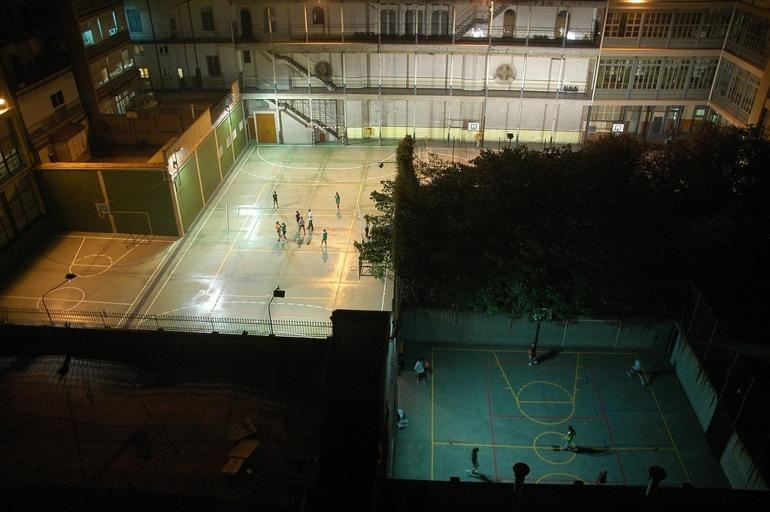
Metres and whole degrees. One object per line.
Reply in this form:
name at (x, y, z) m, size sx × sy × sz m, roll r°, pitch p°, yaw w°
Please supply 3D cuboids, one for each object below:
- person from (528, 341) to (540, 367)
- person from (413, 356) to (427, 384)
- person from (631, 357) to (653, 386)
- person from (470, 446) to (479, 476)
person at (10.421, 6.848, 35.448) m, size 0.720 × 1.630 × 1.220 m, roll 4°, pitch -9°, yaw 16°
person at (2.445, 7.728, 34.233) m, size 0.929 × 1.613 × 1.291 m, roll 6°, pitch -9°, yaw 5°
person at (17.513, 7.977, 34.403) m, size 1.158 × 1.592 × 0.987 m, roll 13°, pitch -11°, yaw -36°
person at (5.367, 12.086, 29.987) m, size 0.515 × 1.503 × 1.651 m, roll 5°, pitch -9°, yaw 11°
